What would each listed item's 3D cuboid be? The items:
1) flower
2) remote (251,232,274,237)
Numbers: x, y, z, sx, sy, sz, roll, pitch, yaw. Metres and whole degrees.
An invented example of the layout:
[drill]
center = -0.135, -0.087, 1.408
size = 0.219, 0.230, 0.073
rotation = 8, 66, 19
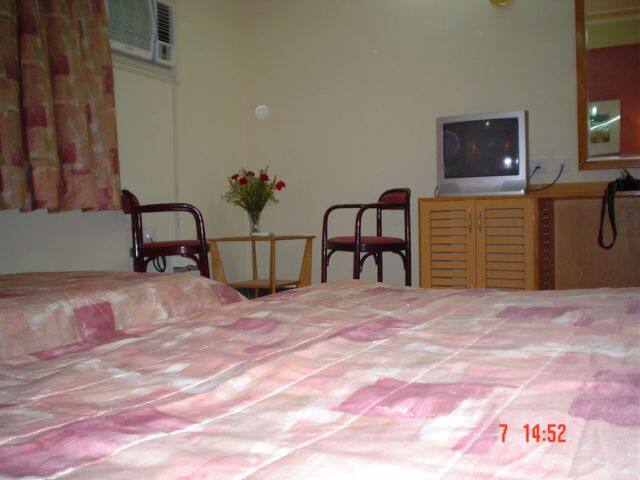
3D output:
[flower]
center = -0.513, -0.355, 3.613
size = 0.518, 0.597, 0.529
rotation = 0, 3, 25
[remote]
center = -0.437, -0.042, 3.276
size = 0.159, 0.024, 0.149
rotation = -3, 5, -1
